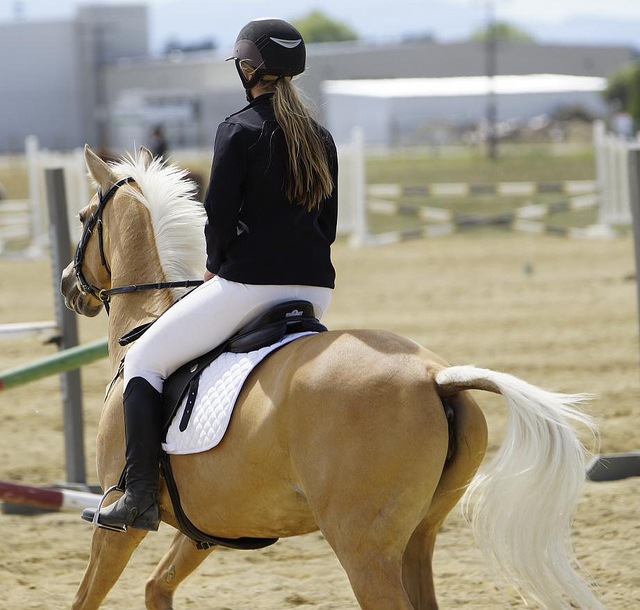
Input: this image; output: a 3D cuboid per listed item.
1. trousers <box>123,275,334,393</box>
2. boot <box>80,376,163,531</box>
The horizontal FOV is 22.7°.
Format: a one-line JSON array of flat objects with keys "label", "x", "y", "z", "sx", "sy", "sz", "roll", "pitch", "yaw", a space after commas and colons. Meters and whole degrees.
[{"label": "trousers", "x": -0.796, "y": 0.329, "z": 12.168, "sx": 1.057, "sy": 1.082, "sz": 1.658, "roll": 10, "pitch": 15, "yaw": 29}, {"label": "boot", "x": -1.476, "y": 1.129, "z": 12.024, "sx": 0.662, "sy": 1.110, "sz": 0.289, "roll": 2, "pitch": 2, "yaw": 24}]
